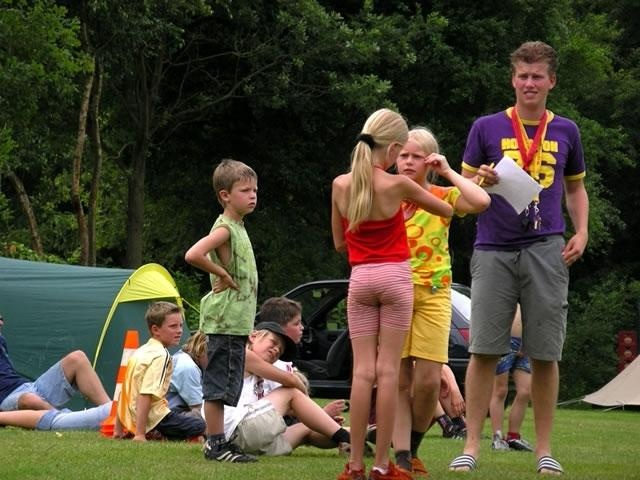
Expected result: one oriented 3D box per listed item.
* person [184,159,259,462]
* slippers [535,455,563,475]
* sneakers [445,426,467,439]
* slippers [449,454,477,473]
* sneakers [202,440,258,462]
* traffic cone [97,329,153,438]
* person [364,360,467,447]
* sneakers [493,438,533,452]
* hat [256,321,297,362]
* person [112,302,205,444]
[{"bbox_3d":[-0.931,0.682,10.229,0.661,2.994,0.384,2,-3,-7],"label":"person"},{"bbox_3d":[2.209,2.163,9.867,0.253,0.151,0.191,1,-3,16],"label":"slippers"},{"bbox_3d":[1.611,2.285,12.218,0.250,0.116,0.119,6,4,13],"label":"sneakers"},{"bbox_3d":[1.382,2.163,9.980,0.265,0.152,0.218,2,-3,6],"label":"slippers"},{"bbox_3d":[-0.878,2.087,10.219,0.569,0.273,0.206,0,-2,-1],"label":"sneakers"},{"bbox_3d":[-2.300,1.629,11.910,0.868,1.014,0.881,13,-5,-12],"label":"traffic cone"},{"bbox_3d":[0.933,1.643,10.277,0.510,0.722,1.188,27,-1,-21],"label":"person"},{"bbox_3d":[2.122,2.235,11.302,0.418,0.185,0.154,-3,-2,19],"label":"sneakers"},{"bbox_3d":[-0.428,1.043,10.820,0.440,0.225,0.334,18,-33,10],"label":"hat"},{"bbox_3d":[-1.837,1.472,11.479,1.080,1.533,1.076,-5,-8,44],"label":"person"}]
